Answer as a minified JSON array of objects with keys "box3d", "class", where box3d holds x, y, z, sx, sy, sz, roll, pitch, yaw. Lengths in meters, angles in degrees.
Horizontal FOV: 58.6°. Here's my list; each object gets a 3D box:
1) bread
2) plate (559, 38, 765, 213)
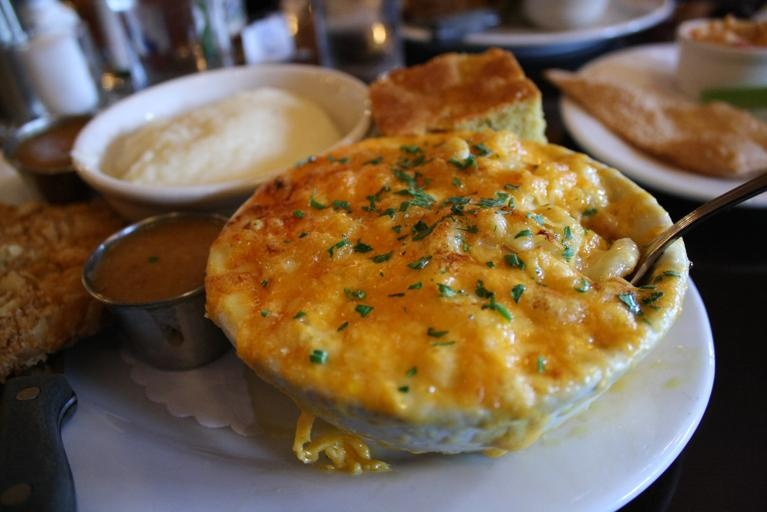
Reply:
[{"box3d":[0.285,-0.660,2.882,0.554,0.186,0.540,-37,31,-31],"class":"bread"},{"box3d":[1.074,-0.631,3.023,0.892,0.144,0.861,-18,44,-18],"class":"plate"}]
